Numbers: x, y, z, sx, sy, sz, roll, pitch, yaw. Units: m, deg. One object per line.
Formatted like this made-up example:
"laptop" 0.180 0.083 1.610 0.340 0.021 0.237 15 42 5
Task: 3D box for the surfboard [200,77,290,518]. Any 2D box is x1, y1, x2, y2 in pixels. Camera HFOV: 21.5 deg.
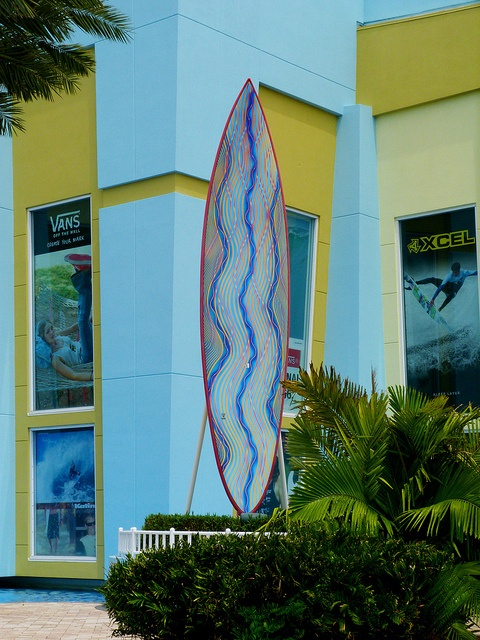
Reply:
"surfboard" 0.051 -0.389 15.283 0.503 5.310 1.856 -3 -4 28
